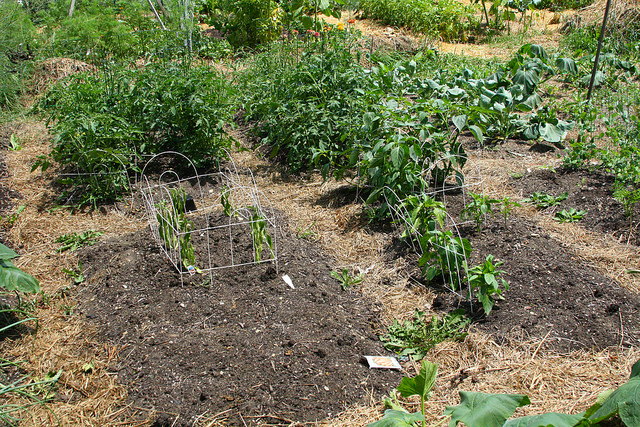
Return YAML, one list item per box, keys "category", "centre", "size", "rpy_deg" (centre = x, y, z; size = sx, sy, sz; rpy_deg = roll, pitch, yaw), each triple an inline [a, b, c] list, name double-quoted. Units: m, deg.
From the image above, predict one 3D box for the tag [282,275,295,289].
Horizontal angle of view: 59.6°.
- category: "tag"
  centre: [-0.326, 0.706, 5.736]
  size: [0.080, 0.036, 0.137]
  rpy_deg: [-24, 52, -23]

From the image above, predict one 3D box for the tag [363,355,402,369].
- category: "tag"
  centre: [0.587, 1.399, 5.226]
  size: [0.217, 0.031, 0.146]
  rpy_deg: [2, 35, -14]

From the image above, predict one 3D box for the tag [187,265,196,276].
- category: "tag"
  centre: [-1.333, 0.584, 5.769]
  size: [0.061, 0.098, 0.102]
  rpy_deg: [-18, 30, -24]
